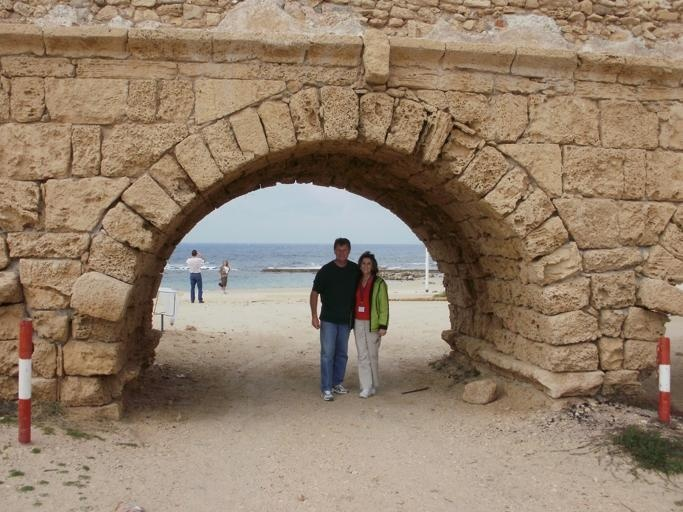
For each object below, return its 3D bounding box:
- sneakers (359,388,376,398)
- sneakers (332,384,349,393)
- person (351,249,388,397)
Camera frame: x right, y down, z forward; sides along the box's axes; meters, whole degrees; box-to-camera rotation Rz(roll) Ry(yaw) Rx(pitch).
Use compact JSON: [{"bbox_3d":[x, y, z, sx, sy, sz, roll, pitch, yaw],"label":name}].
[{"bbox_3d":[0.328,1.752,8.385,0.081,0.093,0.224,-2,-9,31],"label":"sneakers"},{"bbox_3d":[-0.010,1.728,8.521,0.205,0.085,0.083,-1,-2,22],"label":"sneakers"},{"bbox_3d":[0.358,0.866,8.444,0.395,1.792,0.517,0,8,-15],"label":"person"}]
